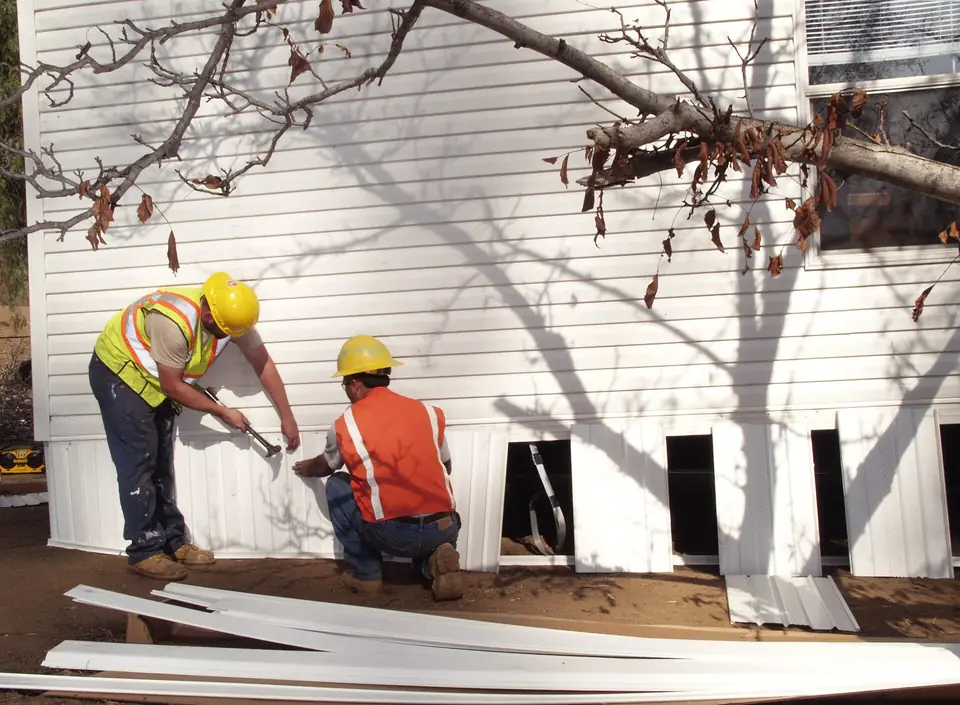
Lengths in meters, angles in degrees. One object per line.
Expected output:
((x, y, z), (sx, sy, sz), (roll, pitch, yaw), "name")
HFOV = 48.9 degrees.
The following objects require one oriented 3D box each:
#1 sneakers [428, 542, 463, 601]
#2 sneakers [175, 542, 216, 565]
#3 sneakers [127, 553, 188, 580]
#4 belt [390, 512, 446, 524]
((-0.231, 1.603, 7.748), (0.194, 0.449, 0.194), (2, -9, -17), "sneakers")
((-2.277, 1.602, 8.462), (0.285, 0.118, 0.144), (0, 3, 11), "sneakers")
((-2.494, 1.621, 8.185), (0.401, 0.173, 0.192), (1, 2, 15), "sneakers")
((-0.403, 1.203, 7.603), (0.451, 0.105, 0.070), (-2, 1, -20), "belt")
